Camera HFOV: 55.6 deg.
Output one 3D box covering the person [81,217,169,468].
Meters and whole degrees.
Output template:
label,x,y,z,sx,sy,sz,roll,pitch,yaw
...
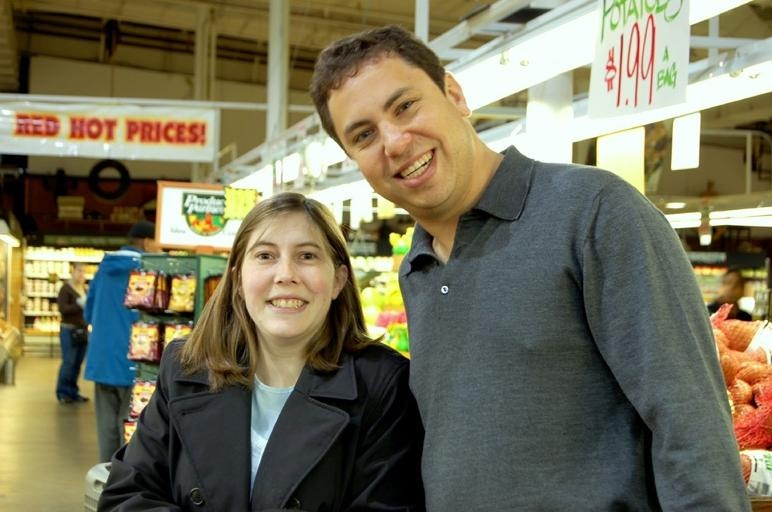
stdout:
label,x,y,z,sx,sy,sz,roll,pitch,yaw
person,-2.287,0.770,6.543,0.757,2.183,0.679,11,12,24
